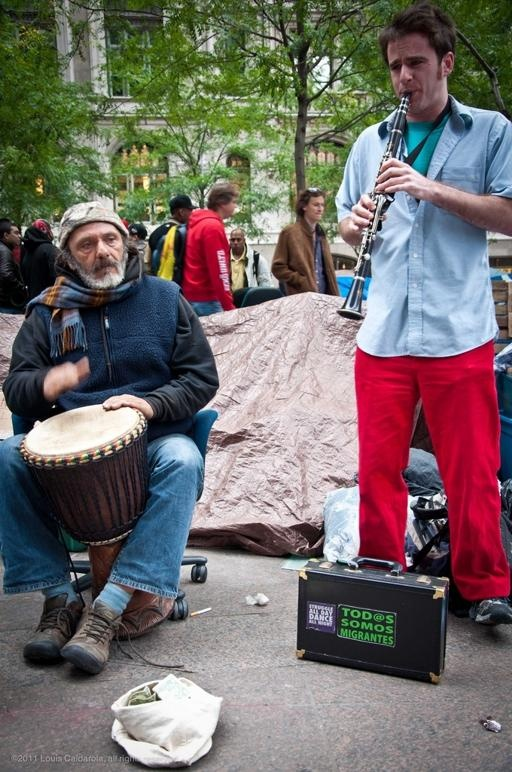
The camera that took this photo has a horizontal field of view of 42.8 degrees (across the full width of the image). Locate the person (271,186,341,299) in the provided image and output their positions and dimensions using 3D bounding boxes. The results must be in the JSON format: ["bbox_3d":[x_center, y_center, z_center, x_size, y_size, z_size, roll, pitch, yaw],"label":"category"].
[{"bbox_3d":[0.435,-1.286,5.886,0.614,1.008,0.695,0,0,6],"label":"person"}]

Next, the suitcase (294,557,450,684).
[{"bbox_3d":[0.353,0.694,1.973,0.434,0.294,0.149,1,-6,21],"label":"suitcase"}]

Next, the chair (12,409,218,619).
[{"bbox_3d":[-0.571,0.495,2.741,0.858,0.919,0.786,-2,-13,9],"label":"chair"}]

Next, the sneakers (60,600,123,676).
[{"bbox_3d":[-0.490,0.762,1.999,0.126,0.147,0.374,19,-7,1],"label":"sneakers"}]

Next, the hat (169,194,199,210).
[{"bbox_3d":[-0.679,-1.741,6.179,0.262,0.131,0.178,-10,19,-23],"label":"hat"}]

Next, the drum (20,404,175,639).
[{"bbox_3d":[-0.544,0.387,2.032,0.362,0.539,0.344,0,0,0],"label":"drum"}]

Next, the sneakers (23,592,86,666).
[{"bbox_3d":[-0.626,0.753,2.032,0.100,0.128,0.291,1,-4,2],"label":"sneakers"}]

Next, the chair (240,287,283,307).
[{"bbox_3d":[0.048,-0.764,5.571,0.317,0.102,0.233,0,-1,-1],"label":"chair"}]

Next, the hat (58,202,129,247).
[{"bbox_3d":[-0.613,-0.601,2.395,0.237,0.141,0.230,-11,9,41],"label":"hat"}]

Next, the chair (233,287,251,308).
[{"bbox_3d":[-0.172,-0.874,6.427,0.244,0.253,0.214,1,4,-4],"label":"chair"}]
